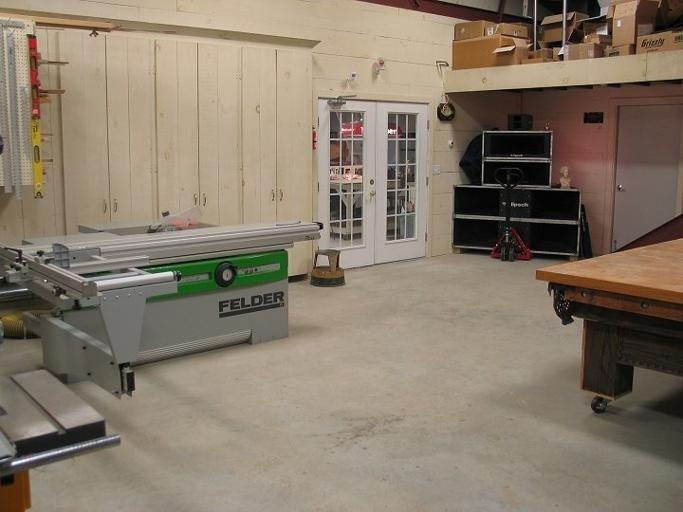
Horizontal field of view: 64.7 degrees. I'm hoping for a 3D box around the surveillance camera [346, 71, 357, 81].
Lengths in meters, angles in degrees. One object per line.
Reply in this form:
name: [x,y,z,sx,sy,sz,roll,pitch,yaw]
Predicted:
surveillance camera: [0.136,-2.518,7.559,0.038,0.123,0.181,11,16,43]
